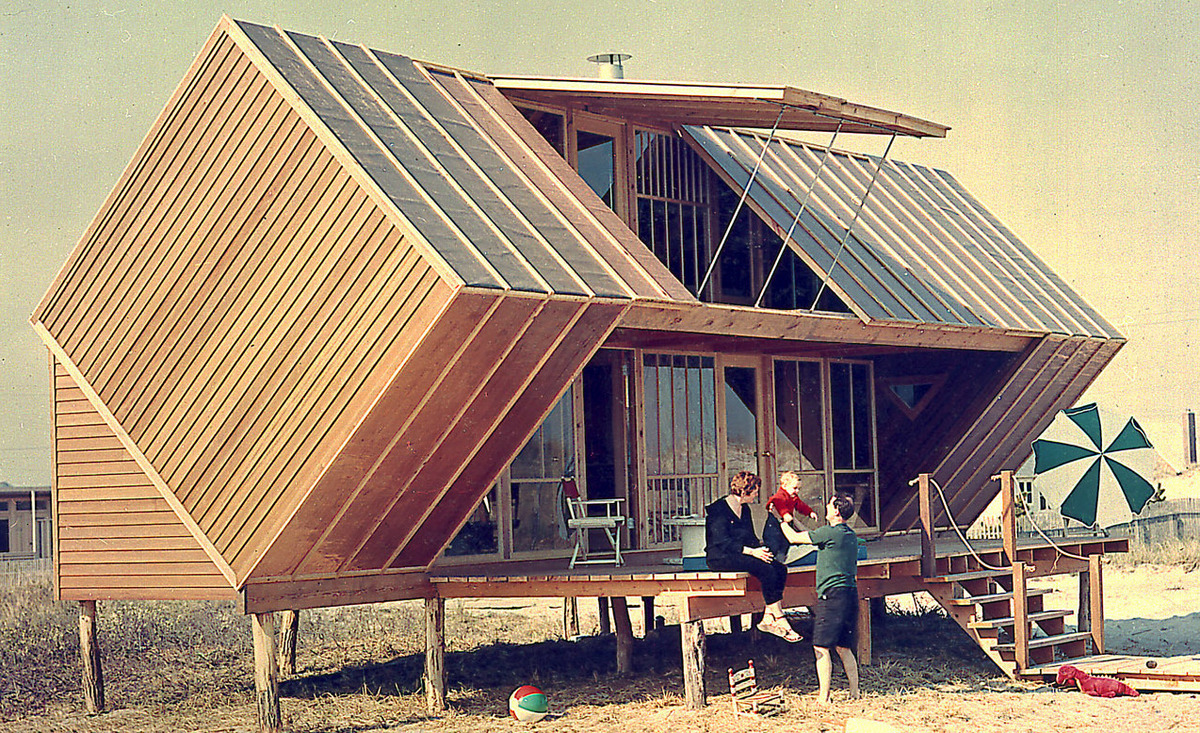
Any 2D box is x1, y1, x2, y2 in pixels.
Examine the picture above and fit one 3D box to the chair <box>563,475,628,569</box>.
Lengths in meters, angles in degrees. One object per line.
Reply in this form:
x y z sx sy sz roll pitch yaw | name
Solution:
-0.359 3.816 54.383 1.879 2.771 2.088 -1 -3 9 | chair
